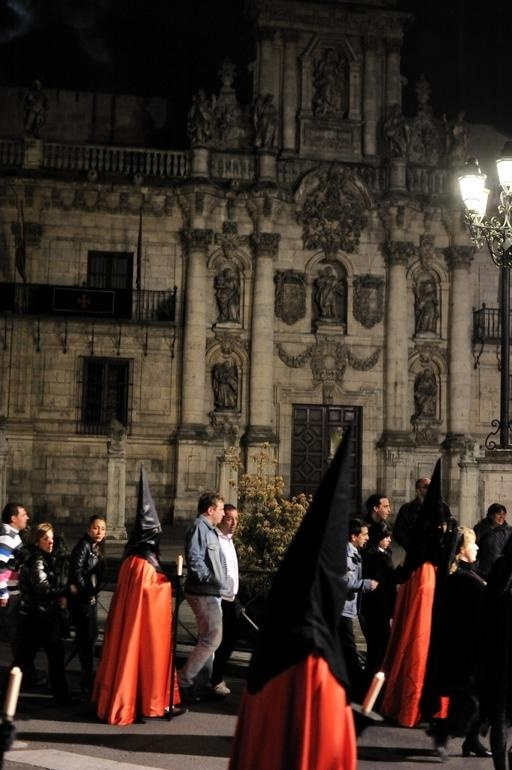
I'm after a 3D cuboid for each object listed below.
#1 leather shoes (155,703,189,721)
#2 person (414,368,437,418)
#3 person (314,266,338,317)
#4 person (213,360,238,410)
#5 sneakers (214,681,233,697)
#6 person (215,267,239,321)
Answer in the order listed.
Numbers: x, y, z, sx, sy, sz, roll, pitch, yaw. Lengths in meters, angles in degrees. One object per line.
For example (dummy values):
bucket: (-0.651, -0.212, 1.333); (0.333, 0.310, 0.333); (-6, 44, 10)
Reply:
leather shoes: (-0.849, 3.443, 15.532); (0.112, 0.159, 0.378); (11, 18, 32)
person: (3.924, 0.205, 33.630); (0.568, 1.213, 0.321); (3, -4, -3)
person: (1.593, -2.090, 33.423); (0.492, 1.326, 0.337); (3, -4, -8)
person: (-0.669, 0.022, 32.701); (0.636, 1.128, 0.319); (3, -4, -7)
sneakers: (-0.378, 3.424, 16.442); (0.128, 0.184, 0.092); (3, 38, 3)
person: (-0.624, -2.000, 32.981); (0.575, 1.253, 0.280); (5, -4, -26)
